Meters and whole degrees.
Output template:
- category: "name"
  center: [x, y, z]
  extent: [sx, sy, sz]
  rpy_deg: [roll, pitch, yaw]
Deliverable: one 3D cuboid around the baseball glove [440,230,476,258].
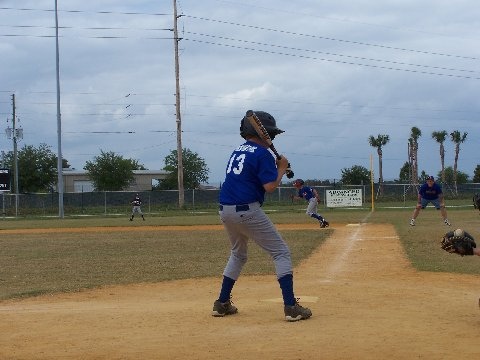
- category: "baseball glove"
  center: [3.646, 1.057, 14.124]
  extent: [0.541, 0.416, 0.225]
  rpy_deg: [0, 8, 12]
